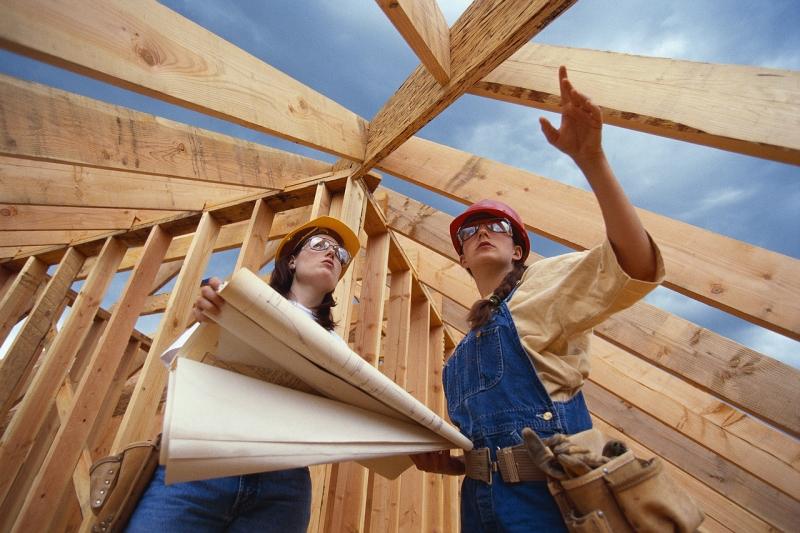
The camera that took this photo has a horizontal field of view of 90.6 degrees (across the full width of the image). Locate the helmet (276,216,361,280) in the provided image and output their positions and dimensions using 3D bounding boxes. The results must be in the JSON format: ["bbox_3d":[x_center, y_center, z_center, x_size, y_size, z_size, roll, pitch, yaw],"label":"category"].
[{"bbox_3d":[-0.531,-0.171,2.397,0.356,0.176,0.464,42,-103,-31],"label":"helmet"}]

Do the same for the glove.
[{"bbox_3d":[0.610,0.637,1.366,0.238,0.104,0.226,7,-17,-12],"label":"glove"}]

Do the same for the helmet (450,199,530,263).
[{"bbox_3d":[0.559,-0.247,2.337,0.358,0.229,0.463,-19,-56,34],"label":"helmet"}]
